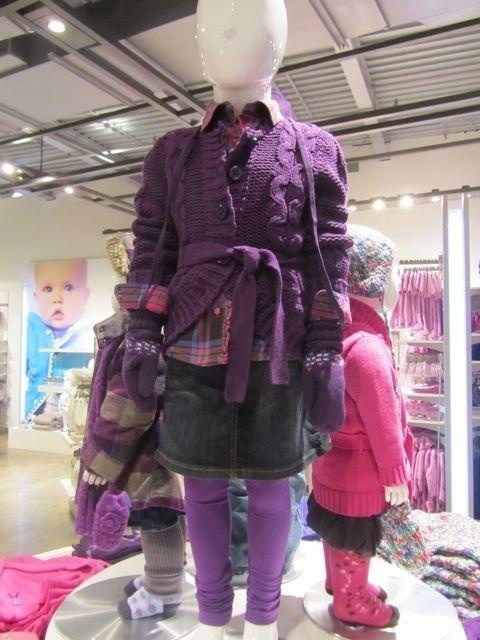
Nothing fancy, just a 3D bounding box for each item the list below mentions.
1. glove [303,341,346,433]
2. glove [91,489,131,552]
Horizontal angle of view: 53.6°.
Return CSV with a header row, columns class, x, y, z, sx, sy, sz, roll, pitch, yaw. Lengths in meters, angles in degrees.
class,x,y,z,sx,sy,sz,roll,pitch,yaw
glove,0.162,0.129,0.871,0.086,0.150,0.071,1,-1,-7
glove,-0.332,0.510,1.198,0.100,0.152,0.051,7,2,-3
